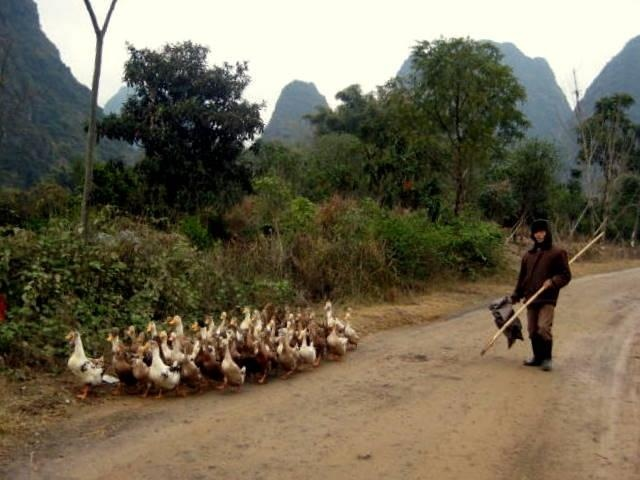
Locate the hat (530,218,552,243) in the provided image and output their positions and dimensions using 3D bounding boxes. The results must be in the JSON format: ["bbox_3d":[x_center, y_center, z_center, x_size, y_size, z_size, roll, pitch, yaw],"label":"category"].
[{"bbox_3d":[4.912,-0.225,13.108,0.386,0.572,0.585,-4,-40,28],"label":"hat"}]

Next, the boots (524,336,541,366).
[{"bbox_3d":[4.690,2.406,12.982,0.325,0.698,0.474,1,13,3],"label":"boots"}]

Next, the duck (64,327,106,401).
[{"bbox_3d":[-4.562,2.362,11.275,0.759,1.134,0.521,9,16,33],"label":"duck"}]

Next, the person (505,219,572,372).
[{"bbox_3d":[4.878,1.181,13.006,1.099,3.181,1.353,5,14,19],"label":"person"}]

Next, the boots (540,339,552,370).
[{"bbox_3d":[4.911,2.452,12.706,0.244,0.638,0.398,5,14,18],"label":"boots"}]
